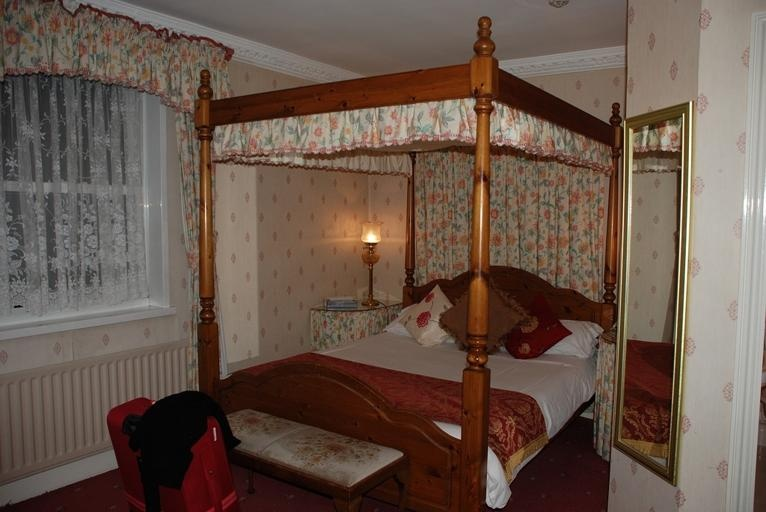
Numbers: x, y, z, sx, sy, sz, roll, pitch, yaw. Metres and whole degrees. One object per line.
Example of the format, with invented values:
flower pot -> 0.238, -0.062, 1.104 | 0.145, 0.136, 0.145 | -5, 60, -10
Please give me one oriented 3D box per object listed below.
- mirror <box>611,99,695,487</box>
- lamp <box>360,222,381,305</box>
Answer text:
mirror -> 1.846, 0.245, 4.055 | 0.221, 2.542, 0.521 | -6, 7, -38
lamp -> -0.128, 0.079, 7.296 | 0.245, 1.009, 0.776 | -2, 6, -2
